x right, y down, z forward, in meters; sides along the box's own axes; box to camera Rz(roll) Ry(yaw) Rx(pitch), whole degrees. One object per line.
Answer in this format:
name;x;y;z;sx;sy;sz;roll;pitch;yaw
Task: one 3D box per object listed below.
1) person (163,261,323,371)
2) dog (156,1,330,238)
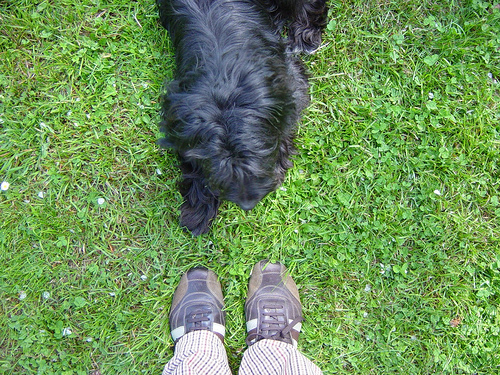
person;-0.113;0.937;3.148;1.056;0.299;0.779;-8;75;-2
dog;-0.137;-0.560;3.185;0.989;0.557;1.592;-4;100;-5
